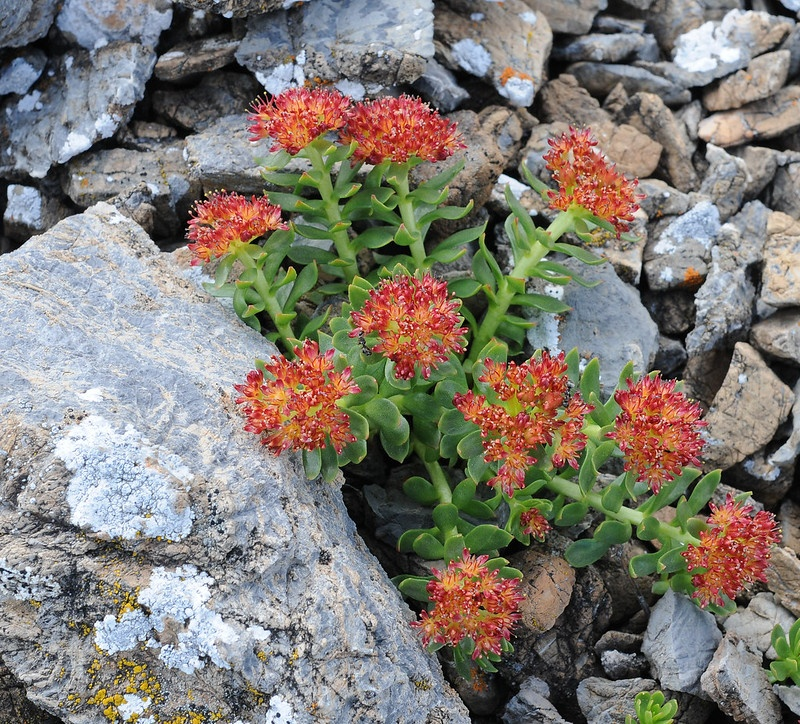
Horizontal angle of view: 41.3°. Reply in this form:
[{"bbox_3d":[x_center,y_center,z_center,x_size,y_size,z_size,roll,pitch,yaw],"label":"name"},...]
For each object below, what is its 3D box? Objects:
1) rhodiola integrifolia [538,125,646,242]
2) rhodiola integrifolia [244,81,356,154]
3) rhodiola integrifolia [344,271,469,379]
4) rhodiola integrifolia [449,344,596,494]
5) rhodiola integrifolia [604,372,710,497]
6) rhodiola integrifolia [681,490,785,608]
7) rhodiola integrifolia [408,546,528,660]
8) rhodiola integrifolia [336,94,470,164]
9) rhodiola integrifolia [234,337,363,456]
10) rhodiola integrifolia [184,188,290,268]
[{"bbox_3d":[0.923,-0.915,5.257,0.557,0.468,0.323,36,102,-27],"label":"rhodiola integrifolia"},{"bbox_3d":[-0.498,-1.199,5.225,0.489,0.244,0.320,2,84,-1],"label":"rhodiola integrifolia"},{"bbox_3d":[0.056,-0.183,4.800,0.495,0.373,0.470,44,85,3],"label":"rhodiola integrifolia"},{"bbox_3d":[0.588,0.242,4.882,0.575,0.467,0.609,-25,85,-4],"label":"rhodiola integrifolia"},{"bbox_3d":[1.156,0.295,4.913,0.516,0.318,0.457,30,93,8],"label":"rhodiola integrifolia"},{"bbox_3d":[1.505,0.911,4.939,0.359,0.530,0.497,39,53,-20],"label":"rhodiola integrifolia"},{"bbox_3d":[0.313,1.069,4.839,0.468,0.268,0.517,-23,96,-2],"label":"rhodiola integrifolia"},{"bbox_3d":[0.050,-1.178,5.183,0.405,0.196,0.407,31,44,32],"label":"rhodiola integrifolia"},{"bbox_3d":[-0.410,0.187,4.614,0.516,0.197,0.526,-35,83,-9],"label":"rhodiola integrifolia"},{"bbox_3d":[-0.806,-0.675,5.178,0.428,0.383,0.237,-46,128,-27],"label":"rhodiola integrifolia"}]
